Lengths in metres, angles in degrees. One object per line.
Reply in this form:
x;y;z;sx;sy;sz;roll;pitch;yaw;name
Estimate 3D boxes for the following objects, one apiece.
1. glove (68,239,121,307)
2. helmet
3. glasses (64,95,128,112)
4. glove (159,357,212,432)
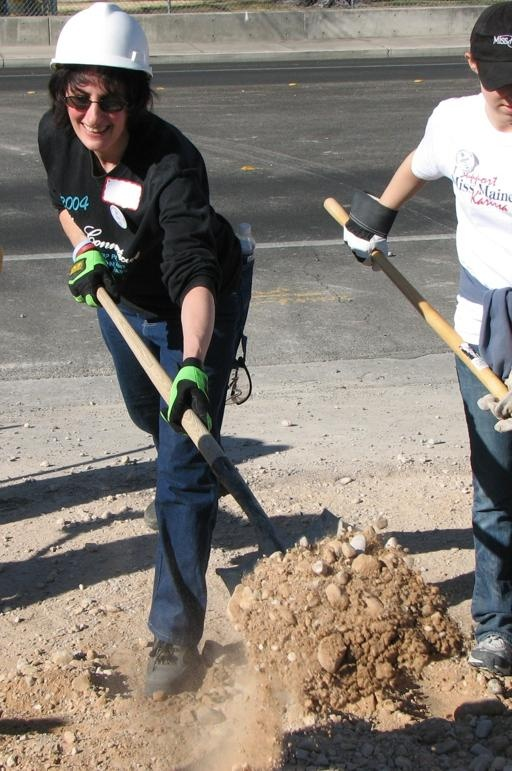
-0.626;-0.418;3.178;0.120;0.163;0.297;30;25;-39;glove
-0.522;-1.175;2.764;0.331;0.252;0.355;-3;16;-13;helmet
-0.534;-0.916;2.684;0.210;0.061;0.082;7;17;23;glasses
-0.201;0.026;2.376;0.094;0.124;0.204;18;42;-23;glove
